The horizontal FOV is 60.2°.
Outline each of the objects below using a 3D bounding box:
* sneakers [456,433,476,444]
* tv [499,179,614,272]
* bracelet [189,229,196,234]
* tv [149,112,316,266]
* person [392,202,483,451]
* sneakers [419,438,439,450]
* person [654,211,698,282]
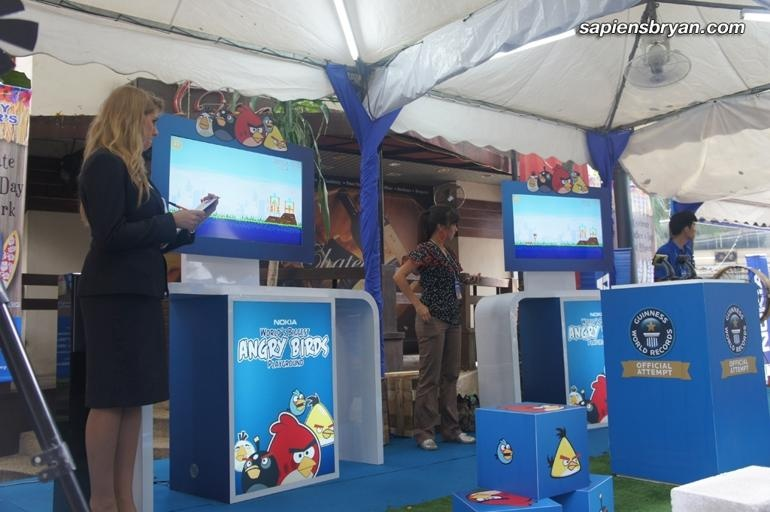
[{"bbox_3d":[0.732,1.666,6.079,0.108,0.078,0.197,3,-9,-31],"label":"sneakers"},{"bbox_3d":[1.769,-0.258,6.859,1.327,0.915,0.604,5,-4,-35],"label":"tv"},{"bbox_3d":[-1.219,-0.152,4.176,0.033,0.017,0.046,-1,-8,-8],"label":"bracelet"},{"bbox_3d":[-1.268,-0.428,5.286,1.244,1.188,0.729,4,-2,-40],"label":"tv"},{"bbox_3d":[0.457,0.627,6.047,0.660,2.164,0.320,1,-6,-36],"label":"person"},{"bbox_3d":[0.377,1.660,5.870,0.151,0.089,0.107,-3,-4,1],"label":"sneakers"},{"bbox_3d":[2.713,-0.094,6.218,0.374,0.676,1.884,-5,-5,25],"label":"person"}]
